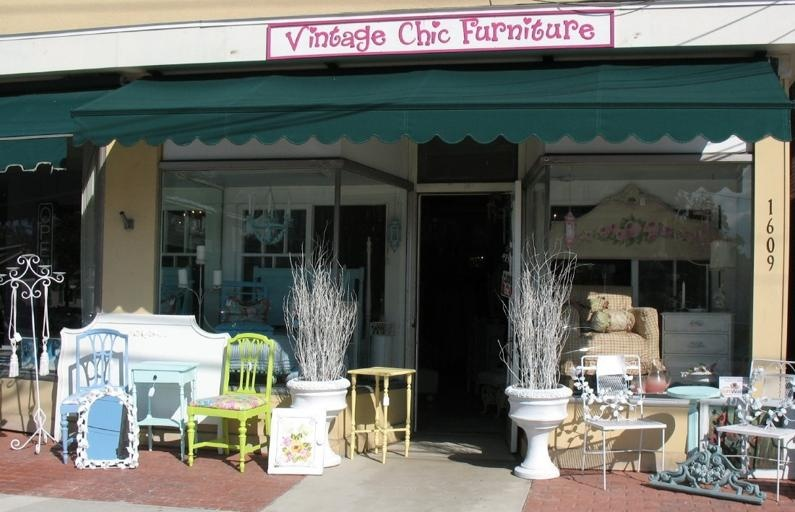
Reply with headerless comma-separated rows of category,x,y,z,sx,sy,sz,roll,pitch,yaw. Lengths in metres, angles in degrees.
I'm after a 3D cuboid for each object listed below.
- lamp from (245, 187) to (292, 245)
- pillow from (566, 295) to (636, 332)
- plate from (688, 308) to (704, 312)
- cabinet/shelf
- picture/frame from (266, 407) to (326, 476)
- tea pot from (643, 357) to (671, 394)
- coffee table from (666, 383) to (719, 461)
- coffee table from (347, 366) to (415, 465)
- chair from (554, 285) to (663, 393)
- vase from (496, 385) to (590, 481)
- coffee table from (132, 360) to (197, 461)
lamp,-1.844,-0.488,11.583,0.439,0.973,0.429,2,-1,19
pillow,2.835,0.817,11.098,0.568,0.570,0.234,-1,-13,-1
plate,4.061,0.732,10.991,0.186,0.054,0.010,-1,-5,1
cabinet/shelf,4.073,1.270,10.918,0.880,1.083,0.402,0,-4,5
picture/frame,-1.286,2.409,10.420,0.799,0.905,0.052,0,-17,-1
tea pot,3.455,1.611,10.810,0.344,0.481,0.356,0,-1,0
coffee table,3.855,2.172,10.595,0.457,0.944,0.498,-2,-4,-4
coffee table,-0.209,2.169,11.302,0.836,1.299,0.850,2,-4,-17
chair,2.887,1.129,11.513,1.075,1.435,1.936,0,0,0
vase,1.814,2.252,10.334,0.789,1.174,0.365,-2,-5,12
coffee table,-3.340,2.044,11.091,0.683,1.474,1.069,0,-9,0
